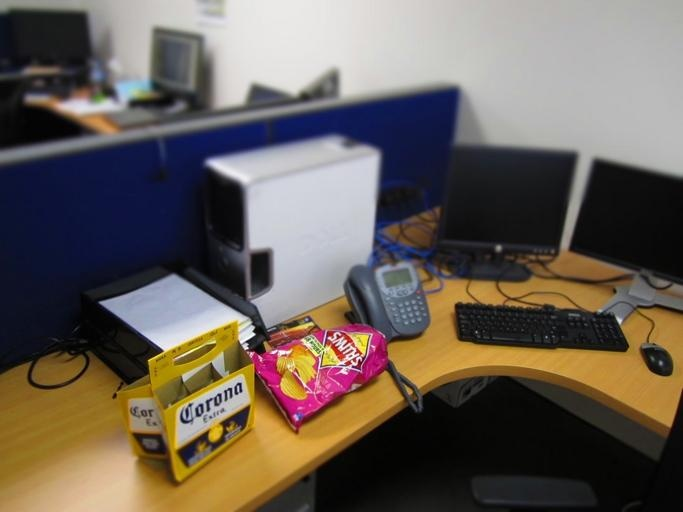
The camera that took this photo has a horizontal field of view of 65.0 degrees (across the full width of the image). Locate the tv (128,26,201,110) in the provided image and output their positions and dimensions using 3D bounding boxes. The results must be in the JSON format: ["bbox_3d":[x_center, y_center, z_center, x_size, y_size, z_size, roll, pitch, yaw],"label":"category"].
[{"bbox_3d":[-1.116,-1.200,3.431,0.696,0.674,0.092,27,33,30],"label":"tv"}]

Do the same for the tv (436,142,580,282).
[{"bbox_3d":[0.596,-0.151,1.920,0.446,0.509,0.164,5,30,1],"label":"tv"}]

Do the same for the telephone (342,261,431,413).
[{"bbox_3d":[0.140,0.179,1.624,0.297,0.172,0.493,16,31,6],"label":"telephone"}]
